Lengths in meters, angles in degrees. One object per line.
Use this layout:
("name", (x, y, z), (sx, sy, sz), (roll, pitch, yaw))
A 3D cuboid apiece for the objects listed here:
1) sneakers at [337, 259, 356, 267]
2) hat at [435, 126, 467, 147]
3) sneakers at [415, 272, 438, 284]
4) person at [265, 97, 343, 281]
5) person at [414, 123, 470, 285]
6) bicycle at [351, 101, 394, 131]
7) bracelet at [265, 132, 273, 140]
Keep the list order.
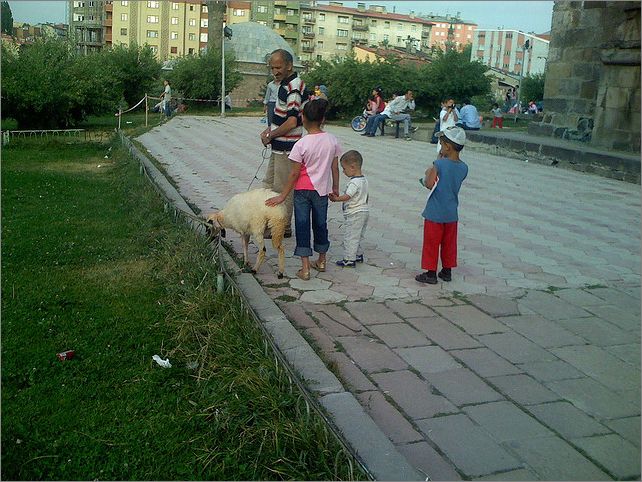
("sneakers", (0.296, 0.251, 6.634), (0.219, 0.093, 0.082), (6, 18, 10))
("hat", (1.384, -1.095, 6.049), (0.256, 0.226, 0.415), (8, 18, 18))
("sneakers", (1.154, 0.377, 6.236), (0.228, 0.161, 0.104), (10, 17, 20))
("person", (-0.118, -0.558, 6.169), (0.495, 1.886, 0.788), (12, 19, 29))
("person", (1.307, -0.374, 6.176), (0.410, 1.682, 0.642), (13, 20, 33))
("bicycle", (1.979, -4.634, 21.818), (1.410, 0.860, 0.689), (-20, 40, -19))
("bracelet", (-0.622, -1.238, 6.793), (0.080, 0.103, 0.054), (3, 2, 4))
